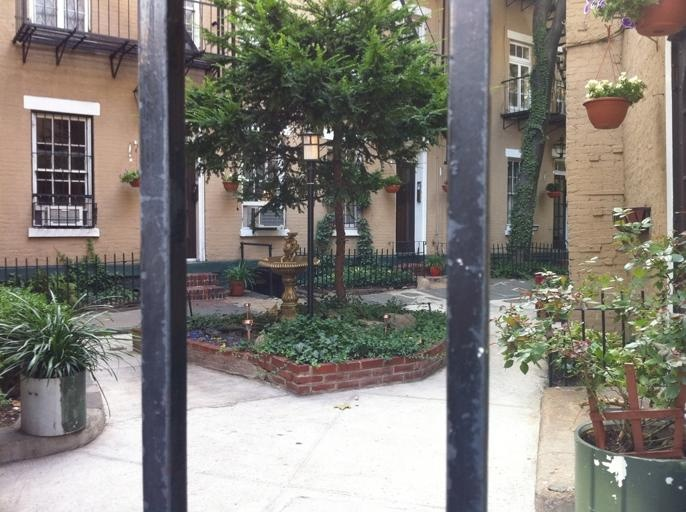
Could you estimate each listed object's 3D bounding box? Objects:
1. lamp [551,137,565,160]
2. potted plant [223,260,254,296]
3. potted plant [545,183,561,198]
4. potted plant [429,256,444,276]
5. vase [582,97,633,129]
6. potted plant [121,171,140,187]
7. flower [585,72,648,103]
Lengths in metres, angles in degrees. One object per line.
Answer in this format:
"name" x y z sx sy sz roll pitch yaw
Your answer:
"lamp" 6.149 -3.074 22.296 0.452 0.672 0.526 3 7 24
"potted plant" -2.010 0.435 14.967 0.608 0.645 0.621 0 -2 -3
"potted plant" 5.929 -1.832 21.797 0.381 0.408 0.390 0 6 -11
"potted plant" 2.155 0.256 17.874 0.400 0.421 0.409 -1 8 -6
"vase" 2.835 -1.490 8.214 0.520 0.316 0.563 2 3 20
"potted plant" -3.988 -1.409 14.407 0.314 0.330 0.489 -3 12 -20
"flower" 2.865 -1.743 8.061 0.594 0.306 0.302 4 12 14
